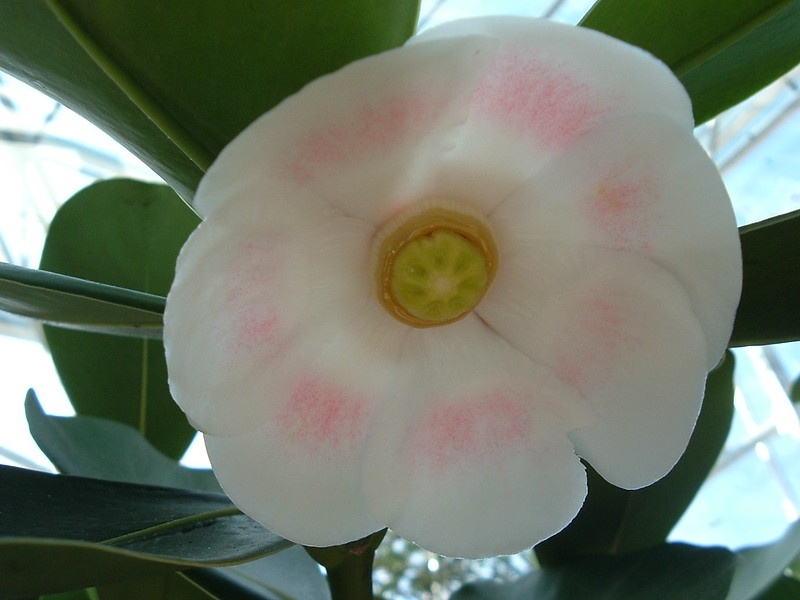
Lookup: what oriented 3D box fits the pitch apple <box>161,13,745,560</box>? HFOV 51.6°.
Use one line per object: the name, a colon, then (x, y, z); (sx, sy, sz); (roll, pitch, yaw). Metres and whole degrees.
pitch apple: (0.024, -0.053, 0.850); (0.478, 0.177, 0.468); (34, -83, -21)
